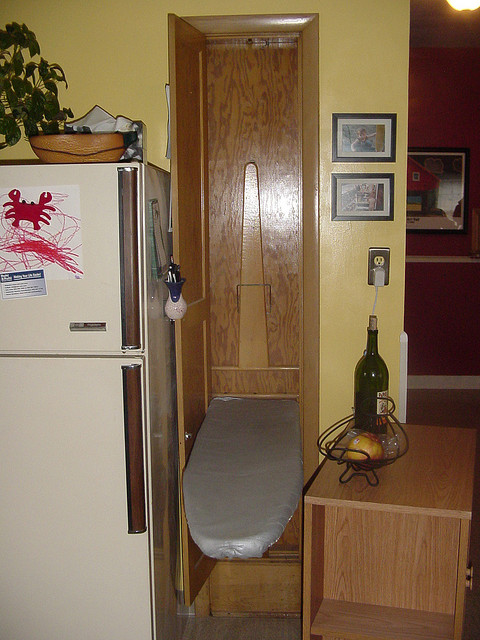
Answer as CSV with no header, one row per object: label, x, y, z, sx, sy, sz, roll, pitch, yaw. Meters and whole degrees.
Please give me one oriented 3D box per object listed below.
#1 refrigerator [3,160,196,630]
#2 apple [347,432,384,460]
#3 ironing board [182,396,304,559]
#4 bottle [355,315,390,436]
refrigerator,-0.441,0.292,1.663,0.585,1.486,0.312,-4,9,-16
apple,0.315,0.309,1.384,0.055,0.075,0.066,-4,9,-13
ironing board,0.014,0.471,1.841,0.342,0.118,1.408,-3,4,1
bottle,0.384,0.148,1.645,0.093,0.332,0.211,2,10,14
